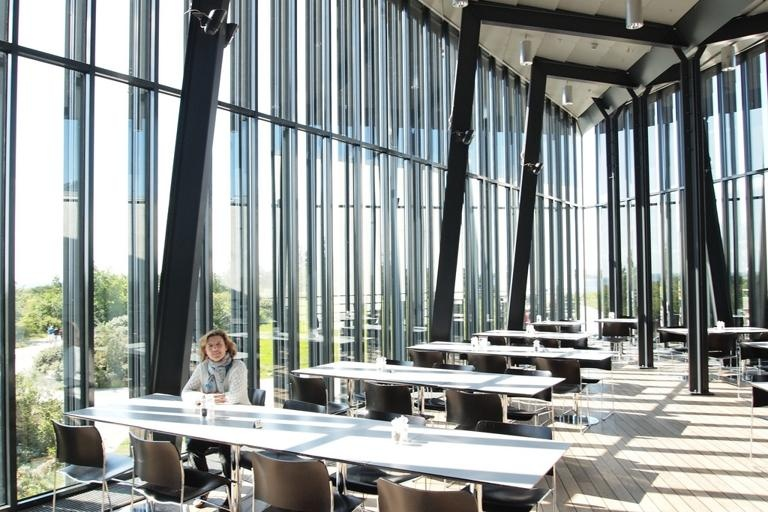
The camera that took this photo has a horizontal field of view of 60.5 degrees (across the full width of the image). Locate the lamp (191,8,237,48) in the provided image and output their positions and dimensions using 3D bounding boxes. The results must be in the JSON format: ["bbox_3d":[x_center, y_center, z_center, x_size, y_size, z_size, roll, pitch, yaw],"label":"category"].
[{"bbox_3d":[-2.130,-2.935,8.264,0.540,0.441,0.542,0,-6,-13],"label":"lamp"}]

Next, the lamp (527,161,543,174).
[{"bbox_3d":[3.130,-1.809,13.583,0.117,0.203,0.293,9,9,-38],"label":"lamp"}]

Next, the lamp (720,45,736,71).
[{"bbox_3d":[6.469,-3.753,12.393,0.221,0.506,0.308,-3,-6,24],"label":"lamp"}]

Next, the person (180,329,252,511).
[{"bbox_3d":[-2.035,1.954,8.014,0.786,2.091,0.618,0,-5,-13],"label":"person"}]

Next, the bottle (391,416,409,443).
[{"bbox_3d":[0.161,1.828,6.961,0.169,0.265,0.220,-1,-6,0],"label":"bottle"}]

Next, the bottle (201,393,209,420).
[{"bbox_3d":[-2.021,1.701,7.425,0.082,0.249,0.235,1,-6,-16],"label":"bottle"}]
